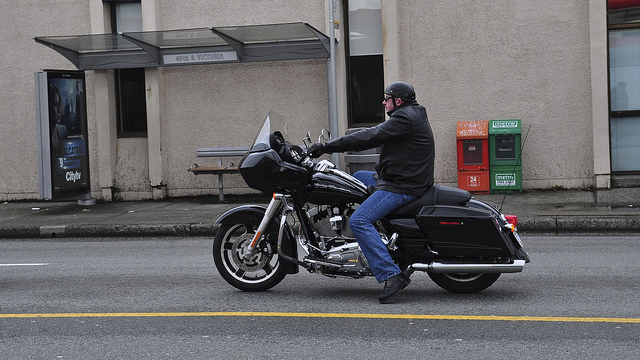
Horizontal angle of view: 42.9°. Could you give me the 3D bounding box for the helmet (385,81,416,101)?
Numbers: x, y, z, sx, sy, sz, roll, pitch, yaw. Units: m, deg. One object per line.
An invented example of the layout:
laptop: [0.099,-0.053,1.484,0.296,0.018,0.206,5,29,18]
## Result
helmet: [1.431,-1.618,14.863,0.498,0.324,0.345,12,17,-1]

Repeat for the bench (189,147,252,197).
bench: [-2.580,-0.214,23.136,2.500,1.252,0.900,0,14,26]

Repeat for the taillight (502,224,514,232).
taillight: [3.343,0.862,14.516,0.212,0.138,0.058,-3,5,0]
